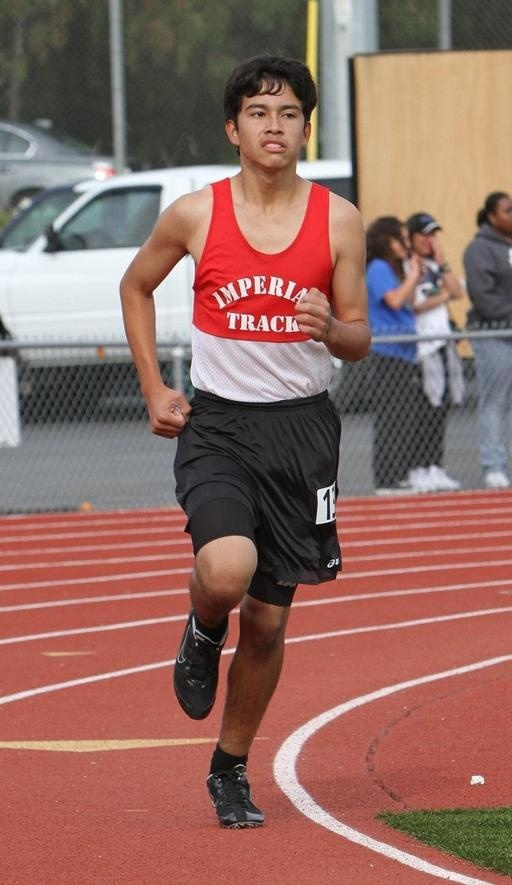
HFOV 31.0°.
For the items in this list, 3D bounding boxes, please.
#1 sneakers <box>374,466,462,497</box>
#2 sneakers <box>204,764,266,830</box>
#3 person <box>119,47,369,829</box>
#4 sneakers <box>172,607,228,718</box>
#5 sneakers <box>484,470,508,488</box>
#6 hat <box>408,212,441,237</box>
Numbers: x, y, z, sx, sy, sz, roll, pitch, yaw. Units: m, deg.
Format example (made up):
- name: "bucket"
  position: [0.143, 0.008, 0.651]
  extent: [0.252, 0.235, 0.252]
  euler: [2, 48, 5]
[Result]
- name: "sneakers"
  position: [1.118, 0.244, 6.325]
  extent: [0.177, 0.181, 0.694]
  euler: [0, -3, -33]
- name: "sneakers"
  position: [-0.057, 0.868, 2.269]
  extent: [0.105, 0.131, 0.311]
  euler: [3, -6, -11]
- name: "person"
  position: [-0.035, -0.005, 2.146]
  extent: [0.612, 1.840, 0.520]
  euler: [-2, -3, 7]
- name: "sneakers"
  position: [-0.106, 0.525, 2.128]
  extent: [0.095, 0.287, 0.118]
  euler: [12, -18, -23]
- name: "sneakers"
  position: [1.535, 0.225, 5.857]
  extent: [0.101, 0.049, 0.114]
  euler: [1, 13, 2]
- name: "hat"
  position: [1.264, -1.712, 7.047]
  extent: [0.232, 0.132, 0.171]
  euler: [-18, 0, 32]
